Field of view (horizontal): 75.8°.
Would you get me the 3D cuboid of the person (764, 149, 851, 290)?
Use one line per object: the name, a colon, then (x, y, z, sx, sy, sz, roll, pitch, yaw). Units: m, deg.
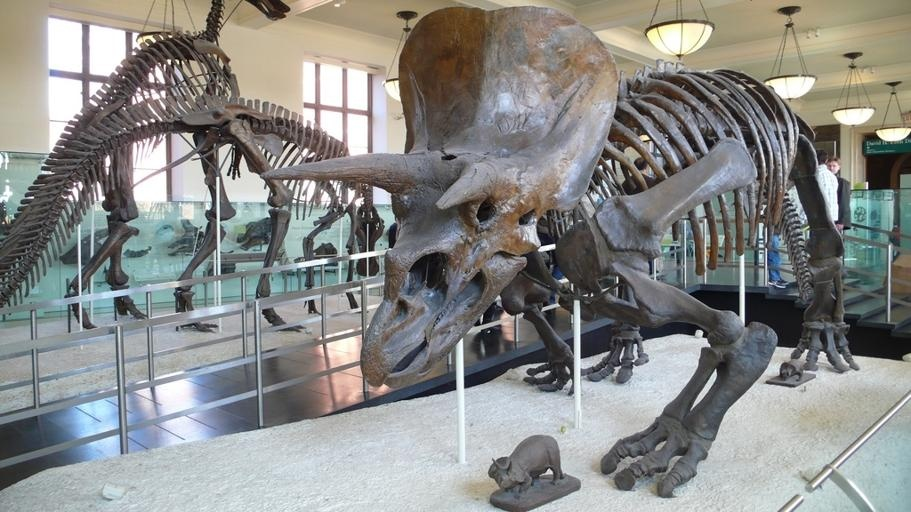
person: (4.358, -0.408, 7.172, 0.691, 2.320, 0.872, 14, 13, 37)

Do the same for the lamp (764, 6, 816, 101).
lamp: (7.720, -4.454, 13.381, 0.902, 1.862, 5.846, 6, 14, 28)
